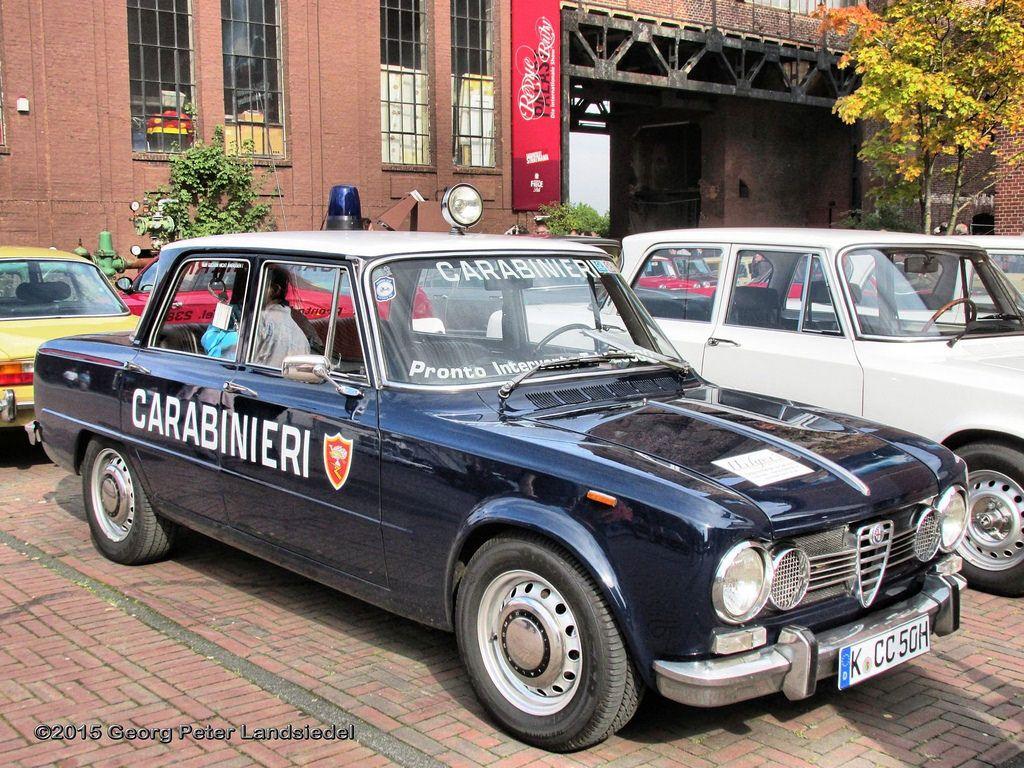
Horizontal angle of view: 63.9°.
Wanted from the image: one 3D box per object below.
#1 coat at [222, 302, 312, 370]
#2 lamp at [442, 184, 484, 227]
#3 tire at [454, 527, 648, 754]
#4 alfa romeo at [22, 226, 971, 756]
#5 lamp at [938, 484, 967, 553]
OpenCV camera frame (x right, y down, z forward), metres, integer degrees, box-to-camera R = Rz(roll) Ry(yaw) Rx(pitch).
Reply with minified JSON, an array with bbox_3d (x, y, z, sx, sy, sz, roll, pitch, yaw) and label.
[{"bbox_3d":[-1.513,-0.301,5.069,0.356,0.445,0.637,10,10,-40],"label":"coat"},{"bbox_3d":[-0.399,-1.395,6.447,0.281,0.383,0.666,0,9,-5],"label":"lamp"},{"bbox_3d":[0.136,1.156,3.637,0.881,0.970,0.194,8,12,37],"label":"tire"},{"bbox_3d":[-0.680,0.239,5.232,6.081,2.305,2.024,7,11,38],"label":"alfa romeo"},{"bbox_3d":[2.169,0.671,4.023,0.071,0.341,0.283,10,13,44],"label":"lamp"}]
